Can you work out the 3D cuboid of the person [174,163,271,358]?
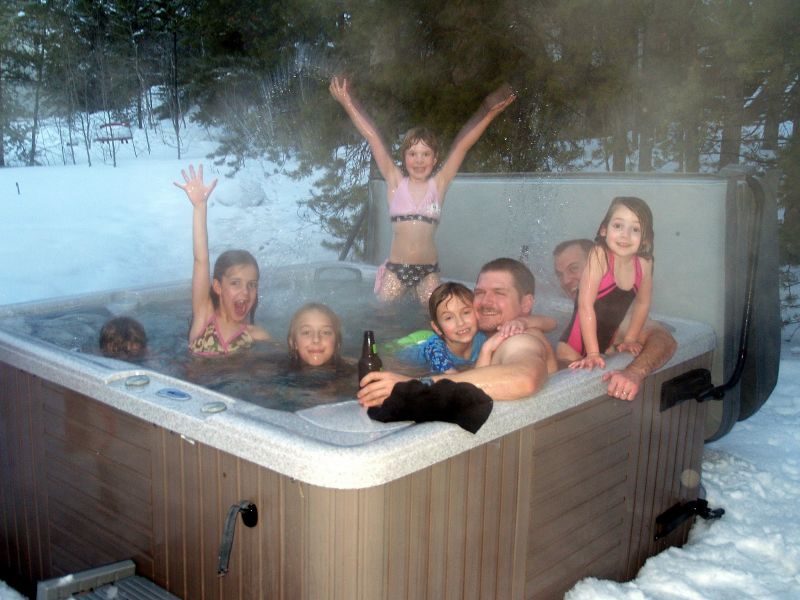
[{"bbox_3d":[-0.794,-0.166,2.902,0.398,0.880,0.679,-2,9,-16],"label":"person"}]

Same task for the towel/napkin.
[{"bbox_3d":[0.109,0.310,1.885,0.256,0.093,0.173,-6,-4,9],"label":"towel/napkin"}]
